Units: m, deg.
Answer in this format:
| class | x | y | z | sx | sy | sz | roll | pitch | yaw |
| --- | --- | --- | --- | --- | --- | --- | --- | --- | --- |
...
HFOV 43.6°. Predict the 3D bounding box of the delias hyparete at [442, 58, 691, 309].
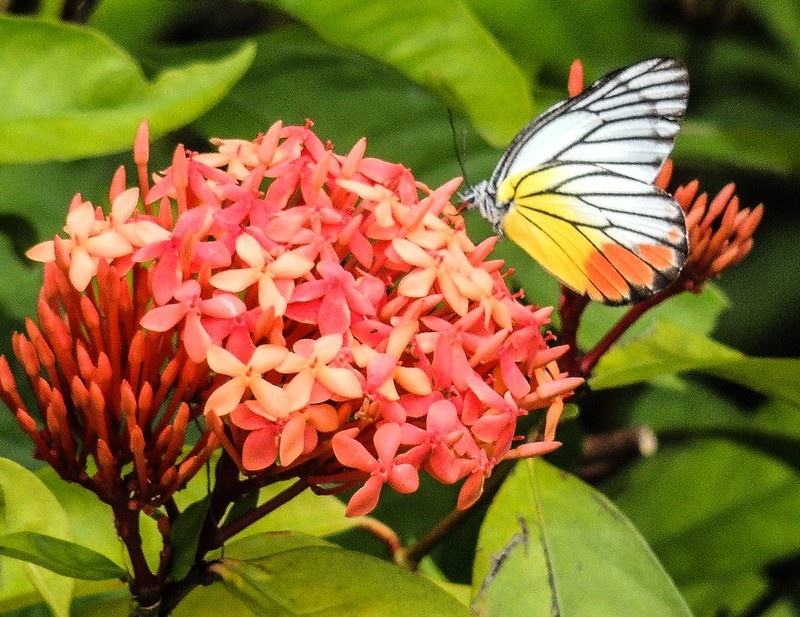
| class | x | y | z | sx | sy | sz | roll | pitch | yaw |
| --- | --- | --- | --- | --- | --- | --- | --- | --- | --- |
| delias hyparete | 0.306 | -0.219 | 1.853 | 0.325 | 0.517 | 0.387 | 0 | 11 | 9 |
